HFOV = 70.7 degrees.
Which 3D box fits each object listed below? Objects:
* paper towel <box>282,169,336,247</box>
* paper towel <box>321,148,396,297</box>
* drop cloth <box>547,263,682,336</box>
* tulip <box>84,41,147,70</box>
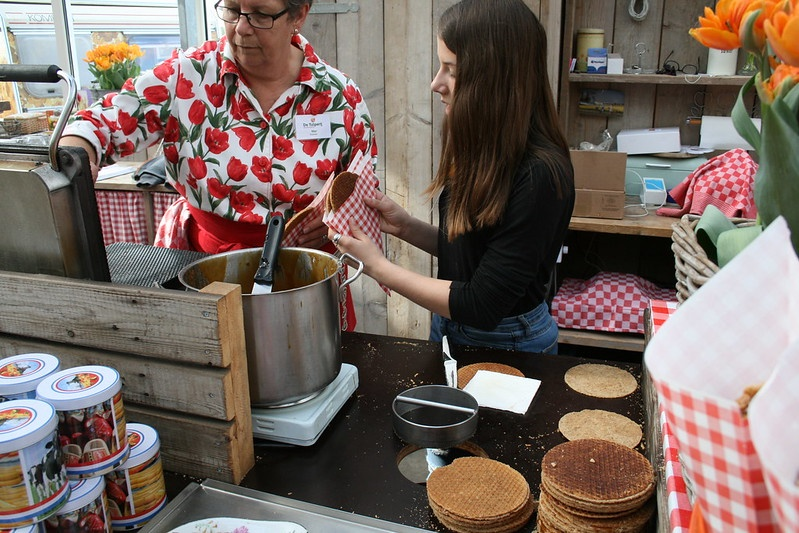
[{"bbox_3d":[-0.314,-0.187,1.892,0.032,0.201,0.283,32,51,6],"label":"paper towel"},{"bbox_3d":[-0.142,-0.128,1.747,0.161,0.405,0.239,12,22,21],"label":"paper towel"},{"bbox_3d":[1.072,0.182,2.976,0.452,0.167,0.481,2,15,8],"label":"drop cloth"},{"bbox_3d":[-2.008,-1.452,3.973,0.253,0.163,0.267,-11,13,3],"label":"tulip"}]
